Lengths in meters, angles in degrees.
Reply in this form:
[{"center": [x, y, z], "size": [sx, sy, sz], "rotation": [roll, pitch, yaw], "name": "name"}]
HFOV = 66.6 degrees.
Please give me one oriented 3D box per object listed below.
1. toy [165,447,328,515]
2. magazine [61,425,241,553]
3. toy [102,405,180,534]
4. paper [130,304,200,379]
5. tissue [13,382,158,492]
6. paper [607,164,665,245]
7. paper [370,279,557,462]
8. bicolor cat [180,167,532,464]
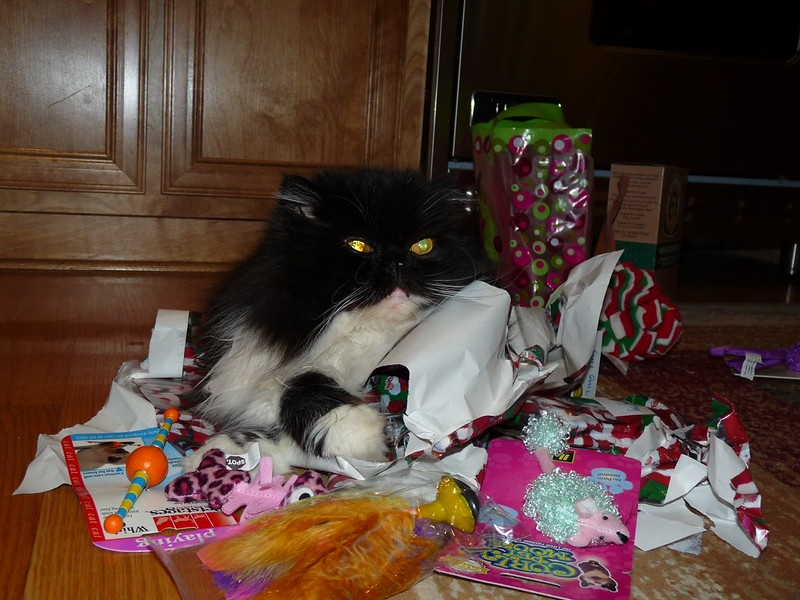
[{"center": [-0.206, 0.216, 0.792], "size": [0.139, 0.028, 0.100], "rotation": [9, 29, 20], "name": "toy"}, {"center": [-0.357, 0.249, 0.867], "size": [0.199, 0.018, 0.354], "rotation": [-1, 22, -39], "name": "magazine"}, {"center": [-0.339, 0.238, 0.829], "size": [0.037, 0.036, 0.152], "rotation": [35, 29, -13], "name": "toy"}, {"center": [-0.423, 0.078, 1.117], "size": [0.105, 0.116, 0.036], "rotation": [6, -15, -3], "name": "paper"}, {"center": [-0.473, 0.210, 0.916], "size": [0.111, 0.042, 0.139], "rotation": [9, 27, -10], "name": "tissue"}, {"center": [0.640, -0.262, 1.667], "size": [0.137, 0.203, 0.100], "rotation": [6, 18, 17], "name": "paper"}, {"center": [0.069, 0.105, 0.923], "size": [0.286, 0.184, 0.107], "rotation": [-37, 2, -34], "name": "paper"}, {"center": [-0.046, 0.014, 1.074], "size": [0.631, 0.393, 0.561], "rotation": [-8, 1, 0], "name": "bicolor cat"}]
